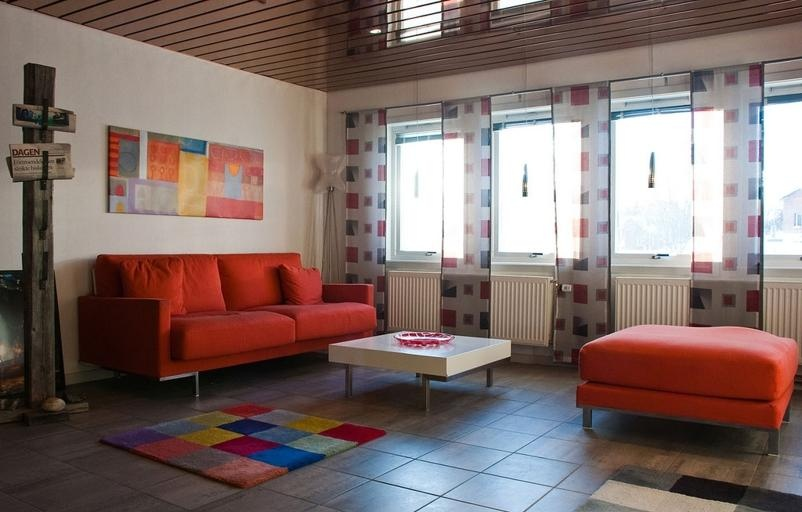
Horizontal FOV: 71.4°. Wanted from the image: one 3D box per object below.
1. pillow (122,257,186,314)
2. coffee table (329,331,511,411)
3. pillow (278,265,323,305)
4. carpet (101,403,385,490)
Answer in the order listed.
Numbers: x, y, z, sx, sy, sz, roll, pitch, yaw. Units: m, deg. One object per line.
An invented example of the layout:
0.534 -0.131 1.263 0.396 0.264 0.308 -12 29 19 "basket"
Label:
-2.373 0.286 5.297 0.551 0.471 0.291 7 -23 -45 "pillow"
0.186 1.018 5.213 1.349 0.526 1.000 4 8 29 "coffee table"
-1.180 0.345 6.655 0.291 0.464 0.748 -1 -4 23 "pillow"
-1.141 1.351 4.171 1.665 0.049 1.124 4 8 27 "carpet"
